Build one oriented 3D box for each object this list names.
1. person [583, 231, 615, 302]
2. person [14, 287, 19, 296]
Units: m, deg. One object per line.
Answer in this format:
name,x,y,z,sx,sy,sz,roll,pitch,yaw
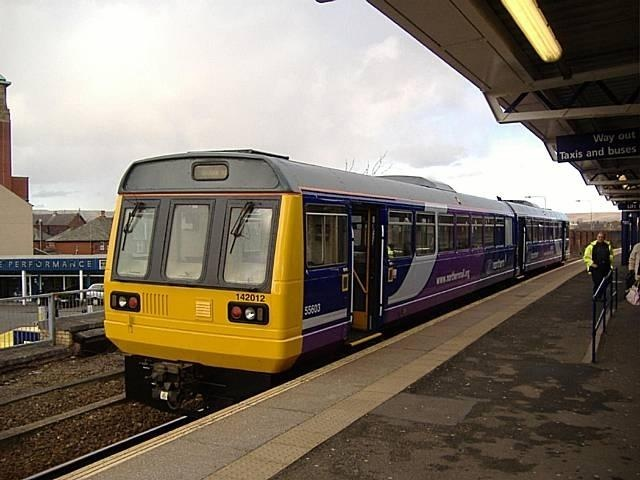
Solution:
person,8.102,0.657,14.488,0.695,1.698,1.352,-3,-2,28
person,-28.989,4.904,47.576,0.525,0.724,0.172,4,3,9
